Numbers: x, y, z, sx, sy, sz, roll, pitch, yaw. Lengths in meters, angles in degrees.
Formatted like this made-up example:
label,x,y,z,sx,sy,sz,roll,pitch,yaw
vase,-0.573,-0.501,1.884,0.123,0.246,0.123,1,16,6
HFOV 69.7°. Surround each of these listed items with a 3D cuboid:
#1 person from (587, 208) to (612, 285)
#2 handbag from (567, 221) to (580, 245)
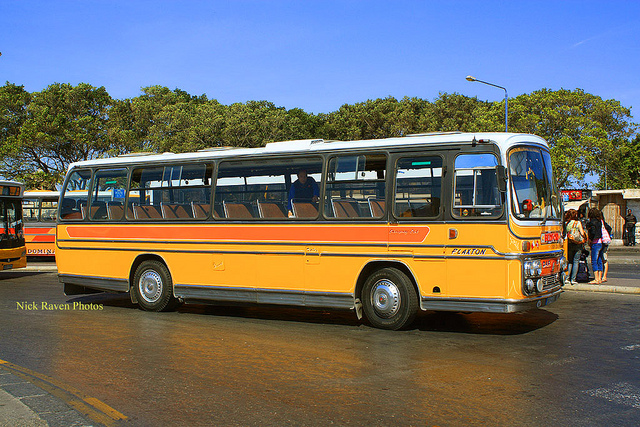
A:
label,x,y,z,sx,sy,sz,roll,pitch,yaw
person,9.355,1.075,15.684,0.622,2.680,1.570,0,0,31
handbag,8.267,0.742,15.464,0.424,0.653,0.653,0,-9,40
